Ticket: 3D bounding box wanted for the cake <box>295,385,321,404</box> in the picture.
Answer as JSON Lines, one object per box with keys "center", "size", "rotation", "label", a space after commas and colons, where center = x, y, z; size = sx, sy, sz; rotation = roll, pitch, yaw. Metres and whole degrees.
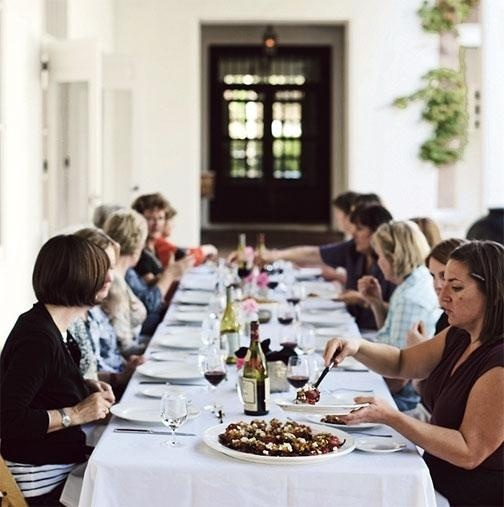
{"center": [0.145, 0.369, 1.822], "size": [0.058, 0.030, 0.073], "rotation": [-1, -1, -1], "label": "cake"}
